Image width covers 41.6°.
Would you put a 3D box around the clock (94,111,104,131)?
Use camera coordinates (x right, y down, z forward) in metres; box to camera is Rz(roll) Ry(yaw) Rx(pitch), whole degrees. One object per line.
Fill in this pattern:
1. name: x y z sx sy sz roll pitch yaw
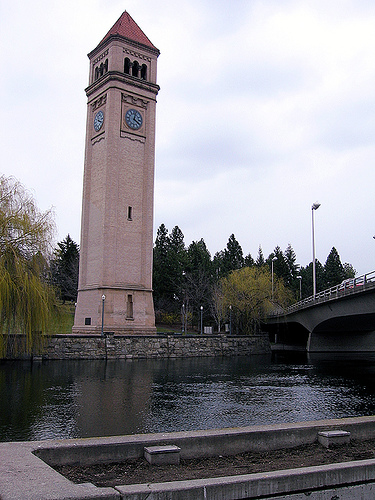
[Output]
1. clock: -8.207 -11.906 45.631 0.343 2.287 2.166 2 -7 -28

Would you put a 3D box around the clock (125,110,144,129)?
1. clock: -4.966 -11.916 45.213 0.127 2.177 2.027 -9 -5 35
